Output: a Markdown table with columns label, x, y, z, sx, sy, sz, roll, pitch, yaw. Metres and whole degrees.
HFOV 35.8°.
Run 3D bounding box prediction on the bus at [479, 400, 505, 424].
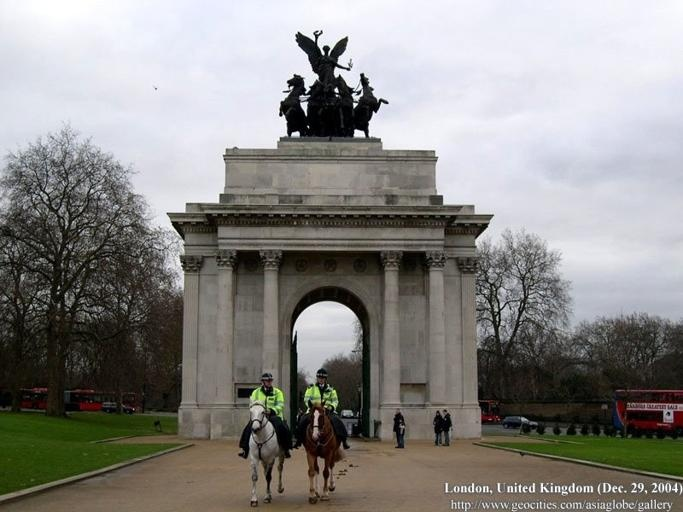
| label | x | y | z | sx | sy | sz | roll | pitch | yaw |
| --- | --- | --- | --- | --- | --- | --- | --- | --- | --- |
| bus | 14.390 | 15.100 | 101.962 | 1.626 | 2.236 | 2.843 | -9 | -14 | 32 |
